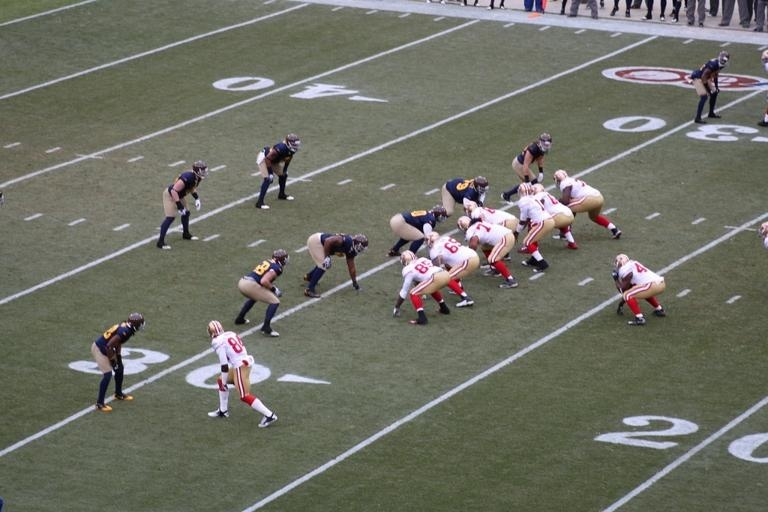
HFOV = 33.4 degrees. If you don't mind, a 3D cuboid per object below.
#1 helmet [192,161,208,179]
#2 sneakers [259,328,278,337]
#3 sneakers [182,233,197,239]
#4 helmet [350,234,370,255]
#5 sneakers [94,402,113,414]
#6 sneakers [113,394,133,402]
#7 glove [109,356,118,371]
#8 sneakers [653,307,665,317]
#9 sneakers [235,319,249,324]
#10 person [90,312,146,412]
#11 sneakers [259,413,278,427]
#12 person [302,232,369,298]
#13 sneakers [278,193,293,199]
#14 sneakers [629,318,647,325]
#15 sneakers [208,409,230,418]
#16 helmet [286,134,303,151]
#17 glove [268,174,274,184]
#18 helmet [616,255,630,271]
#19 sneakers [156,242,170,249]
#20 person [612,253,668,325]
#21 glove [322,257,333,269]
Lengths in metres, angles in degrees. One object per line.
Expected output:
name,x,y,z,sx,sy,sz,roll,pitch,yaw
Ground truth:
helmet,-3.834,-1.796,26.844,0.269,0.374,0.331,-15,25,-3
sneakers,-2.165,1.439,24.263,0.346,0.100,0.118,1,9,4
sneakers,-4.131,-0.409,27.285,0.361,0.193,0.097,-2,52,5
helmet,-0.456,-0.257,25.259,0.305,0.401,0.320,-9,25,9
sneakers,-4.912,2.648,22.545,0.264,0.084,0.135,7,23,27
sneakers,-4.635,2.507,22.798,0.352,0.100,0.115,-1,16,-7
glove,-4.711,1.859,22.392,0.093,0.196,0.173,14,3,17
sneakers,5.304,1.074,24.609,0.122,0.095,0.259,-6,9,43
sneakers,-2.693,1.235,24.569,0.249,0.065,0.099,-1,-12,-40
person,-4.736,1.962,22.956,1.307,1.802,0.954,7,34,-8
sneakers,-1.978,2.829,22.226,0.386,0.173,0.135,-30,57,28
person,-1.000,0.096,25.537,1.479,1.233,0.885,-13,25,-2
sneakers,-2.190,-1.338,28.886,0.372,0.124,0.100,-4,47,-6
sneakers,4.850,1.210,24.430,0.356,0.129,0.118,6,29,23
sneakers,-2.881,2.745,22.418,0.413,0.129,0.122,4,40,9
helmet,-1.984,-2.458,28.211,0.260,0.427,0.263,-17,26,-7
glove,-2.456,-1.715,28.365,0.104,0.208,0.289,-14,23,2
helmet,4.539,0.096,24.341,0.250,0.255,0.326,-8,23,10
sneakers,-4.624,-0.228,26.920,0.262,0.081,0.126,5,31,21
person,4.942,0.687,24.675,1.068,1.149,1.188,-26,28,-32
glove,-1.110,0.134,25.326,0.155,0.328,0.220,-12,25,6
